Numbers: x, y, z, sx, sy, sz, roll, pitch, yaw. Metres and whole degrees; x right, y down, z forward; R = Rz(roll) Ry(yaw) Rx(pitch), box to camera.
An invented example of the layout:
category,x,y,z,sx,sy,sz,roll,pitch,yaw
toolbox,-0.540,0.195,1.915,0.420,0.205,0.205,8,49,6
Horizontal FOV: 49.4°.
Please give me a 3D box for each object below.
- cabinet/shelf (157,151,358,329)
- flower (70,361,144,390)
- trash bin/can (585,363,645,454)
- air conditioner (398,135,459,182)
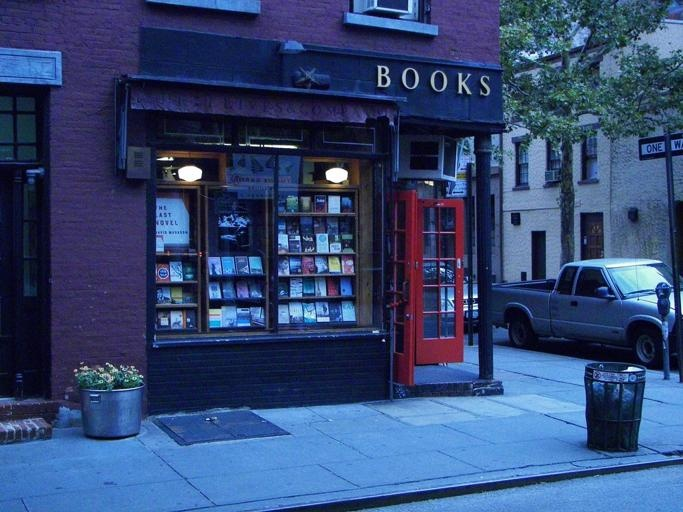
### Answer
category,x,y,z,sx,sy,sz,roll,pitch,yaw
cabinet/shelf,-1.821,-0.223,12.621,2.731,2.758,1.906,2,1,-24
flower,-3.148,1.560,10.013,0.781,0.251,0.929,-3,9,-28
trash bin/can,3.483,1.923,9.654,0.801,1.094,0.755,0,-1,-20
air conditioner,1.526,-1.748,13.144,1.126,0.802,0.489,0,8,-11
